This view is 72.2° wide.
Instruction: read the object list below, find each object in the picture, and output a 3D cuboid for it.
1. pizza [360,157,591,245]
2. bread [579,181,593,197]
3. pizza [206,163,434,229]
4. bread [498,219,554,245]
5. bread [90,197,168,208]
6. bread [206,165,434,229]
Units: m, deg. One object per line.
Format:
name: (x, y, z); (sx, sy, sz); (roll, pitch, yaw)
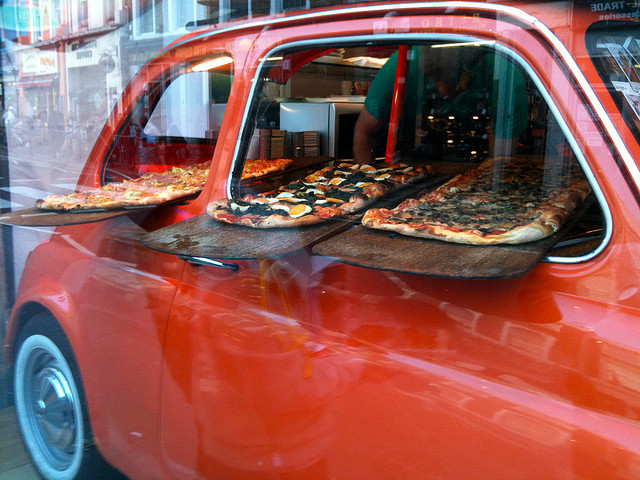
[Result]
pizza: (0.537, -0.124, 1.399); (0.491, 0.068, 0.666); (10, 27, 27)
bread: (0.703, -0.138, 1.174); (0.028, 0.033, 0.084); (4, 9, 27)
pizza: (0.035, -0.203, 1.542); (0.680, 0.060, 0.320); (-12, 15, -39)
bread: (0.515, -0.018, 1.109); (0.129, 0.018, 0.059); (-9, 18, 1)
bread: (-0.661, -0.132, 1.552); (0.249, 0.031, 0.038); (-2, 9, -15)
bread: (0.090, -0.128, 1.484); (0.663, 0.051, 0.290); (-12, 15, -30)
